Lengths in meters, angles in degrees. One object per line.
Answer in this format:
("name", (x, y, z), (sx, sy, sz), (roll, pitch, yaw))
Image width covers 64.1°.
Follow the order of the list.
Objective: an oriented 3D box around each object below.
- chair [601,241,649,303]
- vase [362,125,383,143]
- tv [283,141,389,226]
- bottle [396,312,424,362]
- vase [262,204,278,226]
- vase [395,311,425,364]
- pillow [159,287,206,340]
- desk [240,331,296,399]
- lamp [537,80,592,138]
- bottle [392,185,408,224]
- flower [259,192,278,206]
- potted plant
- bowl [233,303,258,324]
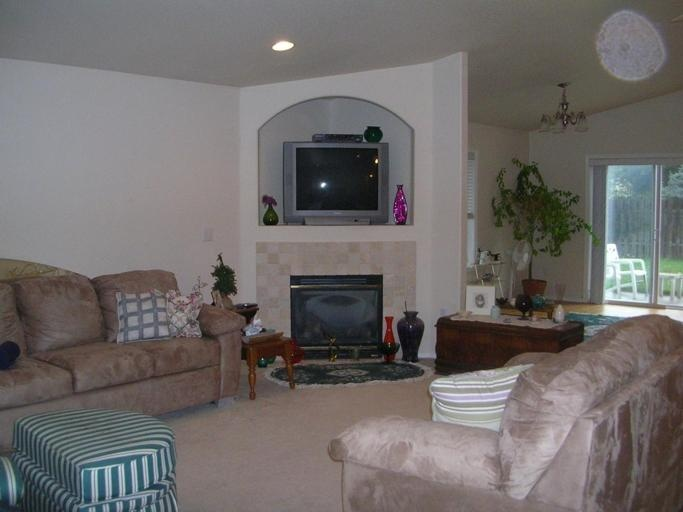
("chair", (4.759, 0.231, 9.315), (0.782, 1.274, 0.885), (4, 6, 31))
("vase", (0.357, -1.362, 6.121), (0.179, 0.165, 0.197), (0, 12, -15))
("tv", (-0.082, -0.857, 6.312), (1.183, 0.933, 0.649), (-1, 16, -8))
("bottle", (0.719, 0.839, 5.743), (0.358, 0.496, 0.364), (0, -1, 0))
("vase", (-0.783, -0.448, 5.985), (0.166, 0.214, 0.251), (-2, 7, -9))
("vase", (0.730, 0.844, 5.747), (0.292, 0.510, 0.305), (0, -1, 10))
("pillow", (-1.337, 0.451, 4.624), (0.397, 0.123, 0.418), (-29, -2, 5))
("desk", (-0.712, 0.988, 4.764), (0.404, 0.303, 0.395), (12, -10, -20))
("lamp", (2.847, -1.908, 7.013), (0.537, 0.582, 0.527), (-18, 17, -33))
("bottle", (0.651, -0.575, 6.054), (0.156, 0.439, 0.357), (0, 7, 6))
("flower", (-0.773, -0.589, 5.871), (0.138, 0.105, 0.143), (21, 27, 21))
("potted plant", (3.029, -0.513, 8.290), (1.466, 1.967, 2.220), (2, 8, 22))
("bowl", (-0.936, 0.547, 5.440), (0.198, 0.200, 0.208), (-1, 2, 0))
